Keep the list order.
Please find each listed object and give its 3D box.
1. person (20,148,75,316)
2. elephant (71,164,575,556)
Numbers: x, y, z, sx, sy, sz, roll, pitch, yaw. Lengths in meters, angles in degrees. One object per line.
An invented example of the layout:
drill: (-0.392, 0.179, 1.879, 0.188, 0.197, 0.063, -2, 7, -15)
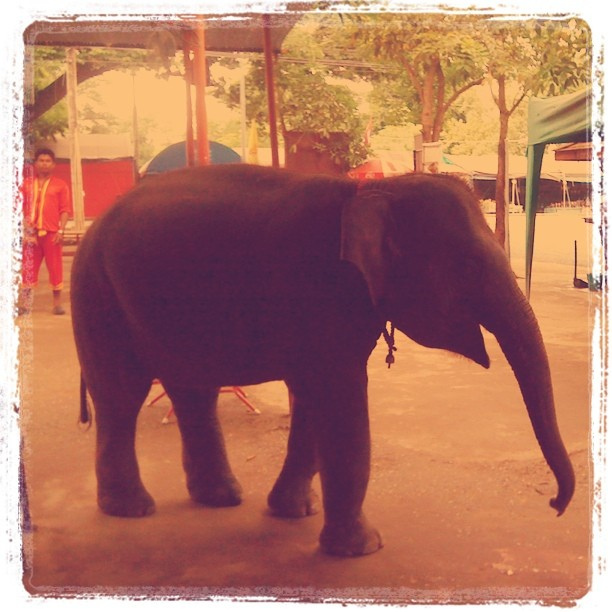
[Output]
person: (-2.847, -0.756, 7.991, 0.468, 1.916, 1.497, -1, 7, -18)
elephant: (0.019, 0.246, 3.560, 2.321, 1.895, 1.040, 2, 14, 9)
